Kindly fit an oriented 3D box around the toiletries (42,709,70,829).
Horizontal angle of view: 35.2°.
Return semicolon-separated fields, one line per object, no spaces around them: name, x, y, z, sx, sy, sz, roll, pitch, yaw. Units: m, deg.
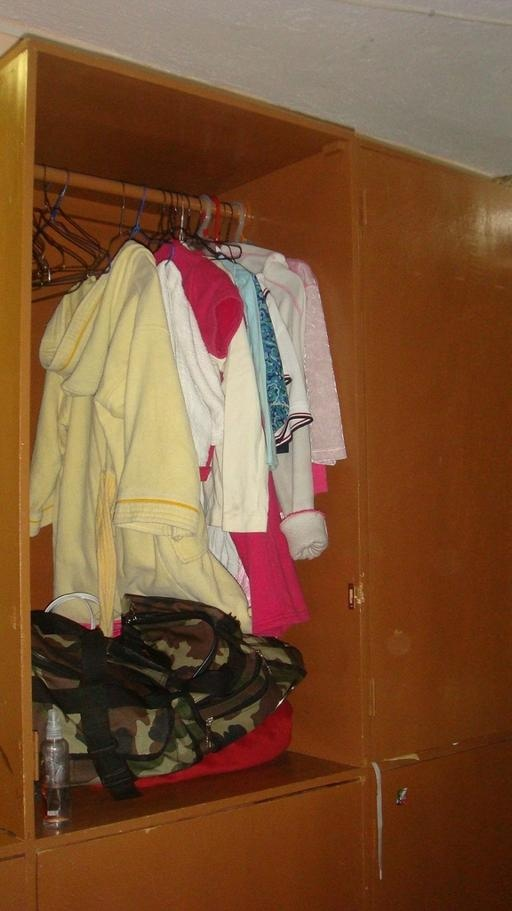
toiletries;-0.323;0.500;1.300;0.043;0.169;0.093;1;-6;-14
